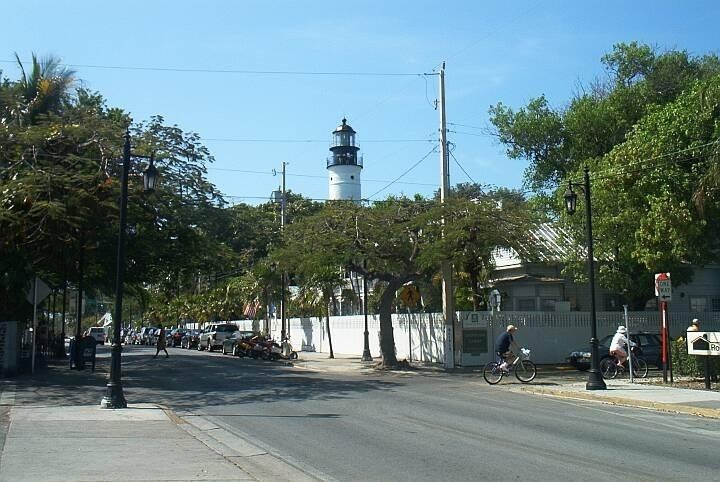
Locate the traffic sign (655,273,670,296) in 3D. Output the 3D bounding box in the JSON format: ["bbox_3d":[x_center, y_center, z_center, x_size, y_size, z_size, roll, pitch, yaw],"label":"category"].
[{"bbox_3d":[11.726,1.721,34.981,0.511,1.026,0.890,-4,-12,16],"label":"traffic sign"}]

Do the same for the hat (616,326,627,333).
[{"bbox_3d":[10.668,3.665,36.940,0.496,0.243,0.720,-1,-10,5],"label":"hat"}]

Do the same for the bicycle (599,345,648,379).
[{"bbox_3d":[11.512,5.331,38.763,2.500,1.673,1.345,-2,-2,-15],"label":"bicycle"}]

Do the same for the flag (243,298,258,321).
[{"bbox_3d":[-7.969,5.018,66.454,0.158,1.727,1.474,-22,38,-36],"label":"flag"}]

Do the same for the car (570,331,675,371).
[{"bbox_3d":[11.700,4.945,40.776,3.806,1.524,1.847,1,-6,-7],"label":"car"}]

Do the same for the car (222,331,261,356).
[{"bbox_3d":[-7.495,6.331,55.845,1.197,0.960,2.666,2,-4,-21],"label":"car"}]

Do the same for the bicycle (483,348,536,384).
[{"bbox_3d":[6.230,5.351,37.380,2.448,1.671,1.270,-4,1,-11],"label":"bicycle"}]
